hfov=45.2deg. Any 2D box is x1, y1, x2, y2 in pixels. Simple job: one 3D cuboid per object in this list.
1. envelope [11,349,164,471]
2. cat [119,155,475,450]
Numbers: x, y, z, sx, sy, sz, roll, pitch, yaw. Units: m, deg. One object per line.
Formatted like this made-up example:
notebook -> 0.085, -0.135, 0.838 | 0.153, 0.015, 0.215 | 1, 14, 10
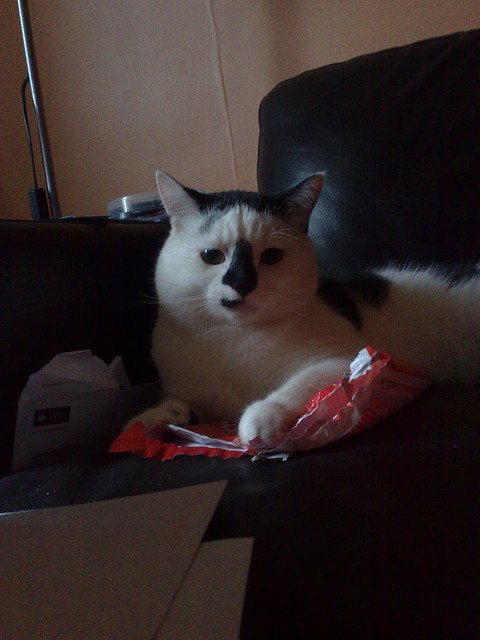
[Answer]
envelope -> -0.184, 0.124, 0.768 | 0.238, 0.136, 0.041 | -6, -11, 7
cat -> 0.080, -0.029, 0.741 | 0.409, 0.317, 0.346 | 5, 20, 24
